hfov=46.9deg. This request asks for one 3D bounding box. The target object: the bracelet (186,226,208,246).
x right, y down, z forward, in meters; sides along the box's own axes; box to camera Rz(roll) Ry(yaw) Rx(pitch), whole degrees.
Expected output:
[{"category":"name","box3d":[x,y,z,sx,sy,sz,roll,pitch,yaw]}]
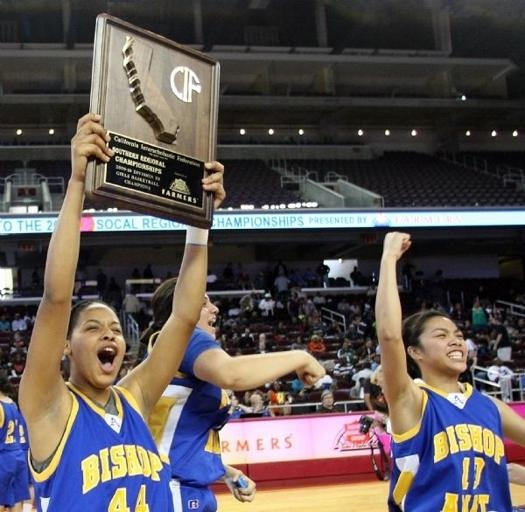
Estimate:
[{"category":"bracelet","box3d":[-0.242,-0.068,2.270,0.066,0.081,0.075,2,-16,2]}]
